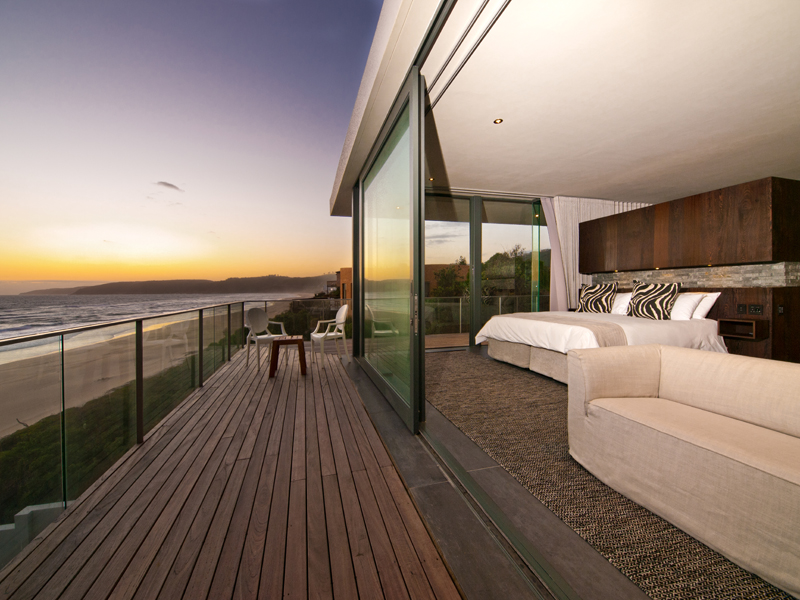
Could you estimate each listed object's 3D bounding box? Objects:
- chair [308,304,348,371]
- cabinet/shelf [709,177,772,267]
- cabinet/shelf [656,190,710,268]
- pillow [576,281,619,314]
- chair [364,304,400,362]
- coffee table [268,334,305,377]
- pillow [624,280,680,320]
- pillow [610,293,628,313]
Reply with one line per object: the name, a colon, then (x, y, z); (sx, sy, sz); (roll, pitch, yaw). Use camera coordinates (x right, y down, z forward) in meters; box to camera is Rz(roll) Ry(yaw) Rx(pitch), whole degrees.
chair: (-1.004, 0.450, 6.596); (0.484, 0.806, 0.467); (-2, 3, -34)
cabinet/shelf: (4.306, -0.957, 5.792); (0.309, 1.088, 1.012); (-4, 7, -11)
cabinet/shelf: (3.988, -0.959, 6.463); (0.338, 1.139, 1.014); (-4, 6, -15)
pillow: (3.055, -0.047, 7.116); (0.160, 0.553, 0.544); (17, 1, -14)
chair: (-0.233, 0.365, 5.927); (0.479, 0.687, 0.499); (-1, -3, 17)
coffee table: (-1.507, 0.674, 6.053); (0.484, 0.508, 0.508); (-1, 3, -7)
pillow: (3.449, -0.031, 6.256); (0.168, 0.562, 0.571); (19, 4, -15)
pillow: (3.232, 0.011, 6.757); (0.062, 0.308, 0.197); (27, -6, -19)
